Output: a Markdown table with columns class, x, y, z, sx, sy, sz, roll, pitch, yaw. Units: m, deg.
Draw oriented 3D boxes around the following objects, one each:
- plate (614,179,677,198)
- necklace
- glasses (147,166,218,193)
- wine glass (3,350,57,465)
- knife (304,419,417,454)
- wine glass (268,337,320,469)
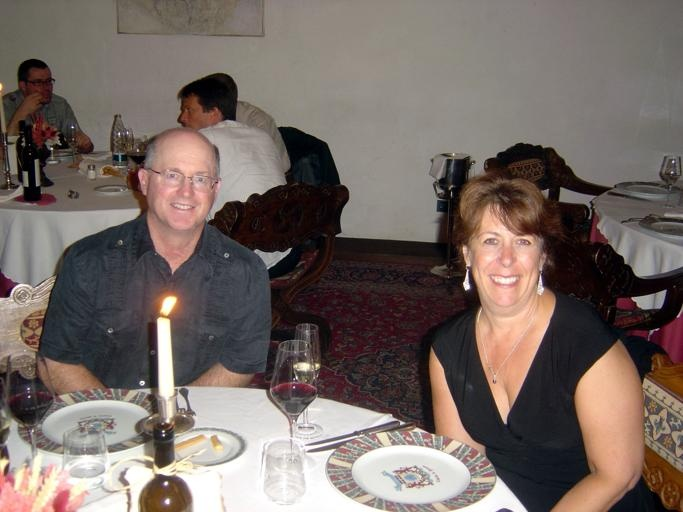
| class | x | y | z | sx | sy | sz | roll | pitch | yaw |
| --- | --- | --- | --- | --- | --- | --- | --- | --- | --- |
| plate | 2.148 | -0.453 | 3.843 | 0.240 | 0.031 | 0.235 | 7 | 28 | 15 |
| necklace | 0.491 | 0.256 | 1.621 | 0.156 | 0.269 | 0.047 | 10 | -12 | 30 |
| glasses | -0.574 | -0.272 | 1.950 | 0.244 | 0.083 | 0.124 | -4 | 13 | -15 |
| wine glass | -0.733 | 0.356 | 1.283 | 0.093 | 0.235 | 0.286 | -9 | 15 | -31 |
| knife | 0.049 | 0.473 | 1.395 | 0.246 | 0.018 | 0.031 | -5 | 13 | -25 |
| wine glass | -0.124 | 0.400 | 1.425 | 0.146 | 0.339 | 0.135 | -1 | 3 | -18 |
